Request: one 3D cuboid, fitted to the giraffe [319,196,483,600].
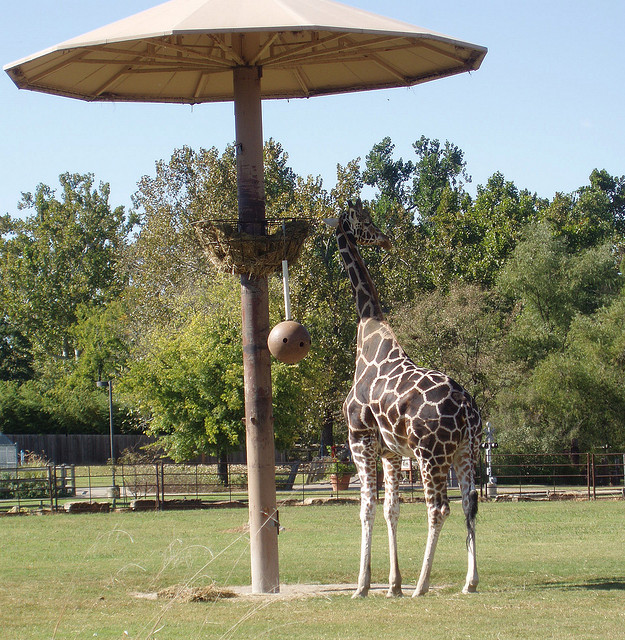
[{"bbox_3d":[1.360,0.990,20.217,1.742,6.586,2.941,4,-8,-30],"label":"giraffe"}]
